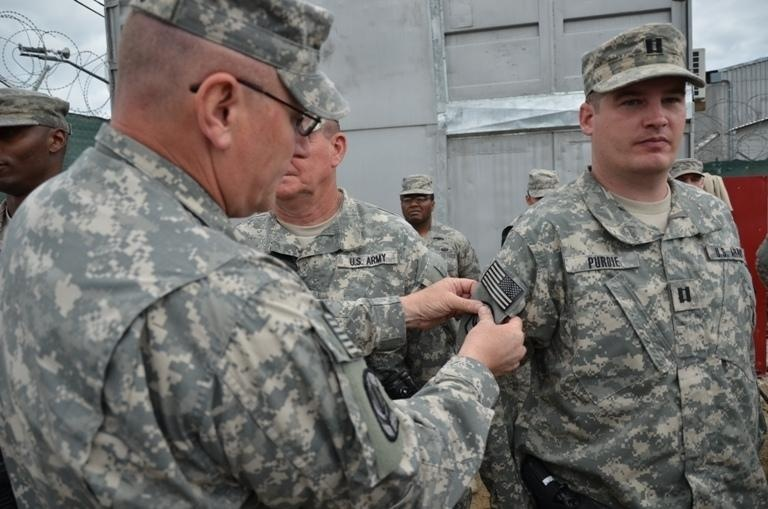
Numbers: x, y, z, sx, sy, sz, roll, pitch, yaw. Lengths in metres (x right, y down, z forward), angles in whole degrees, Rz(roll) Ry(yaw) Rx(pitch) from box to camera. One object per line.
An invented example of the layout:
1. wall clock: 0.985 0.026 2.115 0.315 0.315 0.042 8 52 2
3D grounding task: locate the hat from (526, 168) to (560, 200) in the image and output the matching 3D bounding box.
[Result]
1. hat: 1.585 -0.673 9.138 0.452 0.308 0.574 -5 5 13
